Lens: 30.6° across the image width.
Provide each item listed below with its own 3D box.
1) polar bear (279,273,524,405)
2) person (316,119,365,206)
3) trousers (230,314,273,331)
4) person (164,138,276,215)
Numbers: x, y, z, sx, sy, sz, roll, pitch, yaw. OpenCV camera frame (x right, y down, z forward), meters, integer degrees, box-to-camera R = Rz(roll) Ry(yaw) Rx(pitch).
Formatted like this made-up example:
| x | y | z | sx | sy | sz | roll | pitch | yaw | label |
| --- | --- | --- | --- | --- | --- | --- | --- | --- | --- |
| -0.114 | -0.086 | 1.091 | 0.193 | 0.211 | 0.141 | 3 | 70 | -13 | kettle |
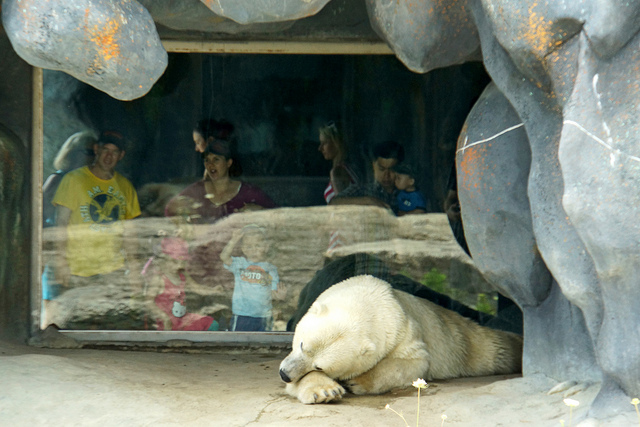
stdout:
| x | y | z | sx | sy | sz | roll | pitch | yaw | label |
| --- | --- | --- | --- | --- | --- | --- | --- | --- | --- |
| 0.696 | 1.024 | 9.116 | 2.284 | 0.977 | 1.044 | 3 | -11 | -34 | polar bear |
| 0.162 | -0.210 | 9.911 | 0.326 | 1.123 | 0.371 | 5 | 8 | 24 | person |
| -0.586 | 0.913 | 9.838 | 0.357 | 0.145 | 0.030 | -2 | -8 | -8 | trousers |
| -0.829 | -0.330 | 9.904 | 0.901 | 0.702 | 0.471 | 0 | 14 | 8 | person |
